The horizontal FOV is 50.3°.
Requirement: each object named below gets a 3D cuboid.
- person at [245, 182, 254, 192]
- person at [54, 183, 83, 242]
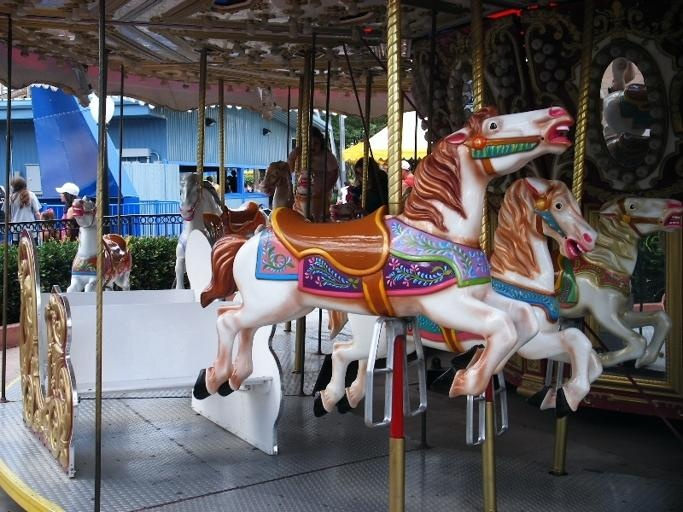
[{"bbox_3d":[-2.871,-2.151,22.587,0.247,0.265,0.768,1,8,-8],"label":"person"},{"bbox_3d":[-4.149,-0.632,11.101,0.300,1.013,0.317,1,26,-11],"label":"person"}]
